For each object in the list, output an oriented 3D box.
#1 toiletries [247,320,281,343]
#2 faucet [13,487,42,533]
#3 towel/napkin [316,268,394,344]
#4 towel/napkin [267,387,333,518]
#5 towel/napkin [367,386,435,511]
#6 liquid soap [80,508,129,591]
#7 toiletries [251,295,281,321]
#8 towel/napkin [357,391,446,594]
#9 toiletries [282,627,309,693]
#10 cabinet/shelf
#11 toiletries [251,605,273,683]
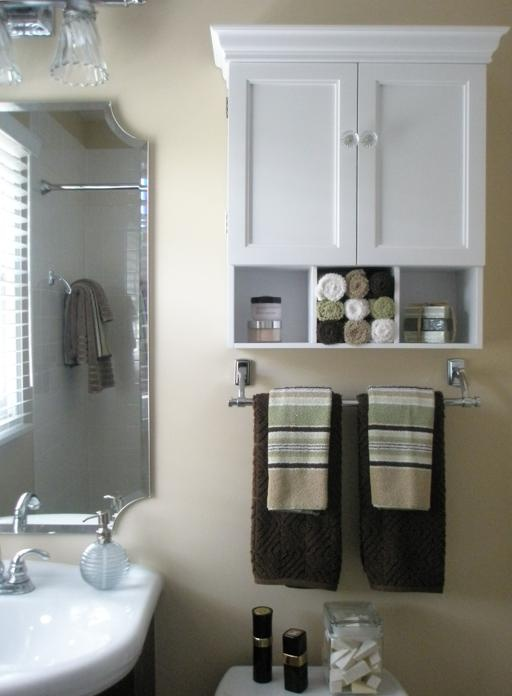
[{"bbox_3d":[0.018,-0.036,1.424,0.051,0.035,0.052,0,0,-10],"label":"toiletries"},{"bbox_3d":[-0.551,0.398,1.547,0.059,0.098,0.036,-1,2,-23],"label":"faucet"},{"bbox_3d":[0.215,-0.084,1.387,0.157,0.165,0.049,-1,0,1],"label":"towel/napkin"},{"bbox_3d":[0.090,0.227,1.409,0.141,0.265,0.061,0,-7,7],"label":"towel/napkin"},{"bbox_3d":[0.297,0.237,1.487,0.153,0.259,0.249,2,-15,7],"label":"towel/napkin"},{"bbox_3d":[-0.338,0.455,1.440,0.088,0.172,0.077,-2,3,-43],"label":"liquid soap"},{"bbox_3d":[0.022,-0.086,1.433,0.052,0.043,0.056,-1,0,16],"label":"toiletries"},{"bbox_3d":[0.332,0.424,1.537,0.208,0.066,0.404,0,30,16],"label":"towel/napkin"},{"bbox_3d":[0.084,0.670,1.379,0.051,0.116,0.066,1,2,19],"label":"toiletries"},{"bbox_3d":[0.232,-0.370,1.401,0.723,0.815,0.303,0,0,-2],"label":"cabinet/shelf"},{"bbox_3d":[0.014,0.658,1.409,0.039,0.154,0.025,-1,2,-18],"label":"toiletries"}]
